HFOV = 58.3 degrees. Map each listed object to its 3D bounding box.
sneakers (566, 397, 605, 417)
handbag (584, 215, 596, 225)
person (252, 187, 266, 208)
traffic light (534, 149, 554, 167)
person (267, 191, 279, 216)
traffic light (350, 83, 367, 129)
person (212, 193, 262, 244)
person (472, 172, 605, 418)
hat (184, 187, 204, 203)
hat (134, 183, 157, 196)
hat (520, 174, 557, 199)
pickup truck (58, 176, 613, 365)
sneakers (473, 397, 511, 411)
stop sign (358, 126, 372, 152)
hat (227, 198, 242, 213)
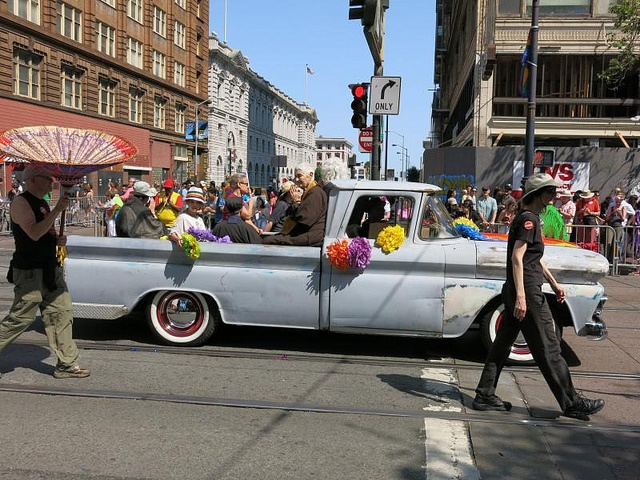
[{"bbox_3d":[2.557,1.649,5.619,0.401,0.193,0.173,-11,47,8],"label":"sneakers"},{"bbox_3d":[7.113,-0.566,15.186,0.277,0.285,0.272,10,13,36],"label":"handbag"},{"bbox_3d":[-1.760,-1.374,17.404,0.251,0.725,0.500,-1,7,-38],"label":"person"},{"bbox_3d":[6.437,-2.418,16.536,0.504,0.479,0.484,4,8,19],"label":"traffic light"},{"bbox_3d":[-1.297,-1.038,15.576,0.371,0.455,1.181,-14,18,2],"label":"person"},{"bbox_3d":[0.813,-2.889,12.255,0.376,0.977,1.285,1,8,4],"label":"traffic light"},{"bbox_3d":[-1.431,-0.408,10.002,1.139,0.903,0.564,4,15,7],"label":"person"},{"bbox_3d":[2.135,0.530,5.703,1.080,2.381,0.511,3,7,16],"label":"person"},{"bbox_3d":[-1.922,-0.707,8.651,0.301,0.165,0.248,1,-3,24],"label":"hat"},{"bbox_3d":[-3.087,-0.912,10.058,0.458,0.179,0.603,12,3,-16],"label":"hat"},{"bbox_3d":[2.176,-0.581,5.733,0.281,0.117,0.249,-18,2,19],"label":"hat"},{"bbox_3d":[0.153,0.464,8.306,6.967,2.315,2.781,0,4,7],"label":"pickup truck"},{"bbox_3d":[1.714,1.645,5.821,0.397,0.164,0.150,0,0,-5],"label":"sneakers"},{"bbox_3d":[1.134,-2.594,14.593,0.306,0.618,0.730,1,8,0],"label":"stop sign"},{"bbox_3d":[-1.201,-0.512,8.102,0.178,0.210,0.232,1,28,-6],"label":"hat"}]
